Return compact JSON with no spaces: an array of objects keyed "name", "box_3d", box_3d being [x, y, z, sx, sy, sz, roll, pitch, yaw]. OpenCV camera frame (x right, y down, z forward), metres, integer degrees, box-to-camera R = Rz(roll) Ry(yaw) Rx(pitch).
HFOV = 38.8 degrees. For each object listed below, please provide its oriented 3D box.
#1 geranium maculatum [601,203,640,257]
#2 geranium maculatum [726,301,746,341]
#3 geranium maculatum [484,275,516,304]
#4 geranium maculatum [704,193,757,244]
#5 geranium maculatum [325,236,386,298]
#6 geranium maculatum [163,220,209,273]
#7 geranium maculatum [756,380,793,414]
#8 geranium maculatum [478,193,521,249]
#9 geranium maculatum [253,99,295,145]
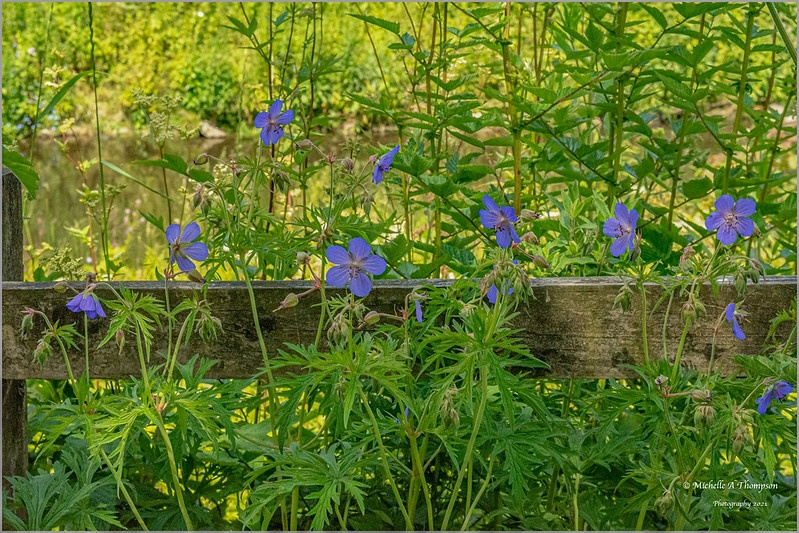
[{"name":"geranium maculatum","box_3d":[0.960,-0.162,4.895,0.142,0.226,0.190,0,-2,10]},{"name":"geranium maculatum","box_3d":[1.453,0.235,4.876,0.091,0.160,0.211,0,-2,17]},{"name":"geranium maculatum","box_3d":[0.418,0.100,4.695,0.034,0.096,0.092,4,24,-27]},{"name":"geranium maculatum","box_3d":[1.423,-0.203,4.855,0.205,0.220,0.178,0,-2,13]},{"name":"geranium maculatum","box_3d":[-0.179,-0.001,4.684,0.241,0.240,0.119,1,-1,-4]},{"name":"geranium maculatum","box_3d":[-0.894,-0.085,4.804,0.172,0.211,0.186,1,-2,-10]},{"name":"geranium maculatum","box_3d":[1.615,0.554,4.832,0.146,0.144,0.198,0,-2,29]},{"name":"geranium maculatum","box_3d":[0.417,-0.193,4.629,0.195,0.204,0.094,-29,6,0]},{"name":"geranium maculatum","box_3d":[-0.543,-0.633,4.933,0.170,0.220,0.249,1,-2,-16]}]
